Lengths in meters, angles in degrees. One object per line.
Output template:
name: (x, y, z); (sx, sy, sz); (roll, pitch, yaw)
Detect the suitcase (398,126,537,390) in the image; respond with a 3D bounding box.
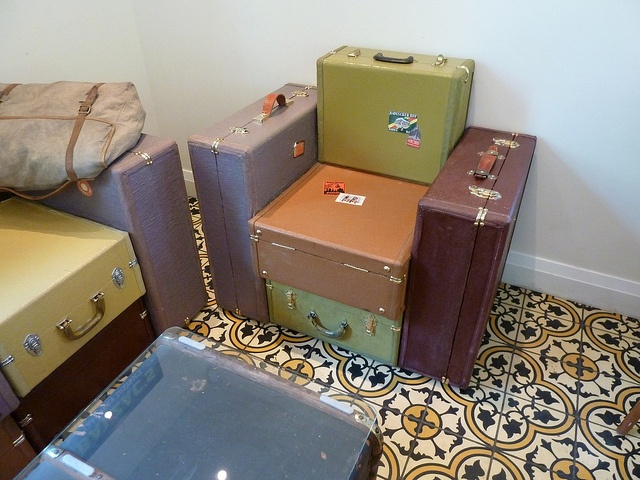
suitcase: (0.545, 0.064, 1.921); (0.273, 0.747, 0.729); (16, 45, 18)

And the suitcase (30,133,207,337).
suitcase: (-0.788, -0.026, 1.888); (0.538, 0.945, 0.327); (14, 41, 17)

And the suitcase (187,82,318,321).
suitcase: (-0.263, -0.125, 2.079); (0.287, 0.870, 0.754); (19, 42, 23)
